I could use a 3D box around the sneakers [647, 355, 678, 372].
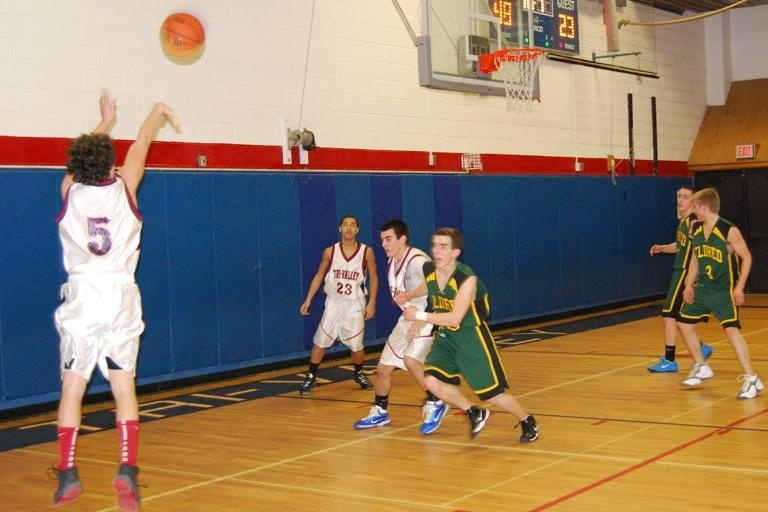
[{"bbox_3d":[3.297,1.291,7.578,0.422,0.195,0.142,0,-2,4],"label":"sneakers"}]

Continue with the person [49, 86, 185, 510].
[{"bbox_3d":[-1.948,0.417,4.369,0.698,2.721,0.792,-3,7,-7],"label":"person"}]

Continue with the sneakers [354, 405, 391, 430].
[{"bbox_3d":[-0.089,1.527,6.054,0.416,0.234,0.152,1,-1,-13],"label":"sneakers"}]

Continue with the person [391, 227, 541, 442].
[{"bbox_3d":[0.637,0.696,5.378,1.095,1.877,0.739,-4,8,-19],"label":"person"}]

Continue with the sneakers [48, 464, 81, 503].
[{"bbox_3d":[-2.155,1.565,4.308,0.156,0.319,0.281,-6,8,-31],"label":"sneakers"}]

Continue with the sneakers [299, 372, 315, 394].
[{"bbox_3d":[-0.865,1.445,7.355,0.114,0.157,0.344,1,5,13],"label":"sneakers"}]

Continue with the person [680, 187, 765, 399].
[{"bbox_3d":[3.439,0.376,6.479,0.379,2.105,0.739,-7,9,-36],"label":"person"}]

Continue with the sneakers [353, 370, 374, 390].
[{"bbox_3d":[-0.249,1.443,7.429,0.115,0.163,0.336,-6,11,-36],"label":"sneakers"}]

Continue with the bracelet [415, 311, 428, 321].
[{"bbox_3d":[0.291,0.468,5.015,0.097,0.088,0.128,-2,7,0],"label":"bracelet"}]

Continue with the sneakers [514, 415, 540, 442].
[{"bbox_3d":[1.211,1.461,5.426,0.126,0.185,0.271,-9,-1,25],"label":"sneakers"}]
